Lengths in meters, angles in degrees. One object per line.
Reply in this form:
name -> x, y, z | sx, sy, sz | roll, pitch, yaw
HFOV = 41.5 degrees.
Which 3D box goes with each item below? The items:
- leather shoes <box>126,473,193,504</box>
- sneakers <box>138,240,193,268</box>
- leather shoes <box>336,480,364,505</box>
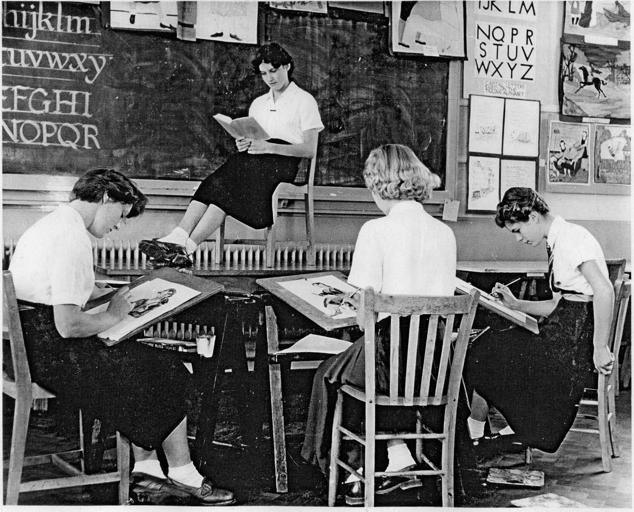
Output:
leather shoes -> -0.901, 1.364, 4.900 | 0.412, 0.195, 0.153 | 4, -10, -11
sneakers -> -1.108, -0.018, 6.097 | 0.274, 0.148, 0.235 | 31, -5, -28
leather shoes -> 0.198, 1.396, 4.904 | 0.199, 0.110, 0.300 | 1, 1, 5
